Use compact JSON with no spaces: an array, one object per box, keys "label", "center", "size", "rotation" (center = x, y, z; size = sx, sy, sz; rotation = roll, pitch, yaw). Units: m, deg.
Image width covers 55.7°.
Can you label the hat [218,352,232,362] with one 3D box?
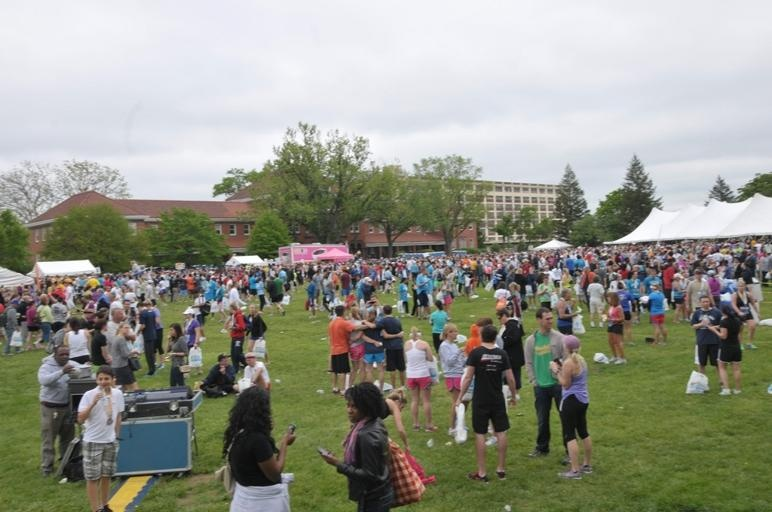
[{"label":"hat","center":[-4.656,2.867,20.725],"size":[0.449,0.235,0.558],"rotation":[0,-3,1]}]

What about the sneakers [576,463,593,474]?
[{"label":"sneakers","center":[4.421,4.708,16.183],"size":[0.161,0.136,0.329],"rotation":[1,-1,-32]}]

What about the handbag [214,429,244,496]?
[{"label":"handbag","center":[-3.100,4.095,14.408],"size":[0.529,1.210,1.747],"rotation":[-2,1,-14]}]

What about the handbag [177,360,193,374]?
[{"label":"handbag","center":[-5.694,3.130,20.573],"size":[0.395,0.165,0.455],"rotation":[1,-5,-24]}]

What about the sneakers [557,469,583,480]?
[{"label":"sneakers","center":[4.061,4.788,16.037],"size":[0.533,0.197,0.196],"rotation":[0,-9,11]}]

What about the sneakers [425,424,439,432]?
[{"label":"sneakers","center":[1.108,4.223,17.895],"size":[0.281,0.111,0.125],"rotation":[-1,-5,6]}]

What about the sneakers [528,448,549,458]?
[{"label":"sneakers","center":[3.532,4.527,16.823],"size":[0.436,0.183,0.172],"rotation":[2,-5,7]}]

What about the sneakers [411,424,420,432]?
[{"label":"sneakers","center":[0.738,4.231,17.987],"size":[0.139,0.108,0.280],"rotation":[-2,-18,11]}]
